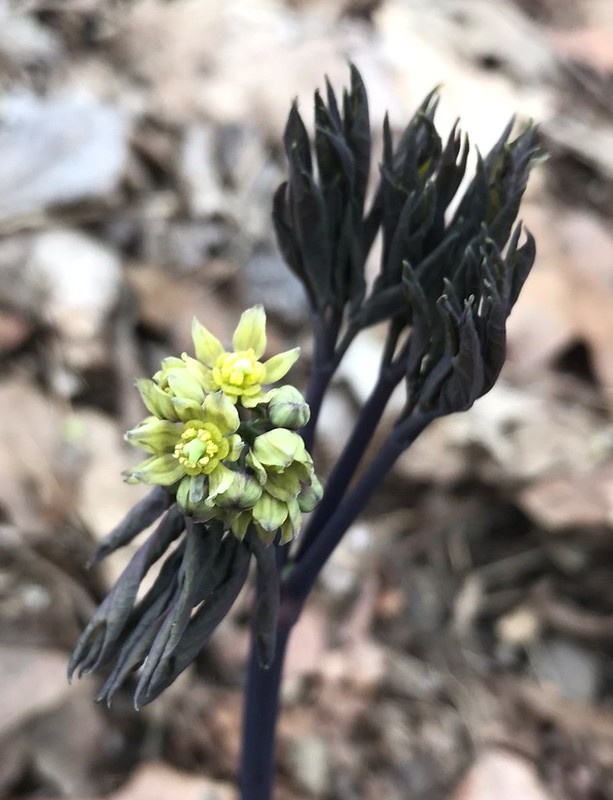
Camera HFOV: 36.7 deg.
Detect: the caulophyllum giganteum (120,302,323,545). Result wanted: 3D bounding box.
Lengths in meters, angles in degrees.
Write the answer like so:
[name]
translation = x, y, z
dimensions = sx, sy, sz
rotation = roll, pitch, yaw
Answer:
[caulophyllum giganteum]
translation = -0.025, 0.009, 0.472
dimensions = 0.100, 0.067, 0.111
rotation = 13, 56, 11
